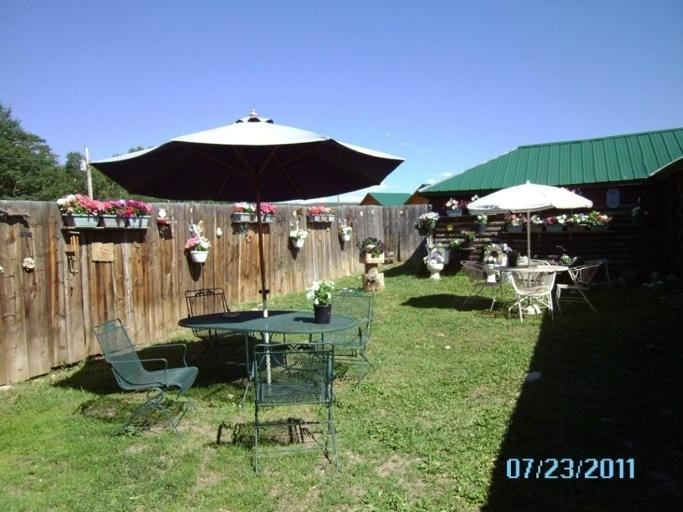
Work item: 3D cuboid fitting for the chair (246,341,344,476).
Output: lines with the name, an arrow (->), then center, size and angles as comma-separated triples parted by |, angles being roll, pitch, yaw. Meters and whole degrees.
chair -> -0.575, 1.762, 6.360 | 1.106, 1.507, 1.151 | 2, -6, -21

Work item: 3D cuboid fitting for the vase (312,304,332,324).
vase -> -0.235, 0.748, 6.831 | 0.218, 0.200, 0.248 | 0, -3, 1

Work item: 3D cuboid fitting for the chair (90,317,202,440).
chair -> -2.363, 1.477, 6.589 | 1.357, 1.297, 1.270 | 2, 2, 32

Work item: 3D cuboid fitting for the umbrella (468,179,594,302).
umbrella -> 3.642, -0.331, 9.906 | 1.896, 1.418, 1.967 | 1, -1, -28

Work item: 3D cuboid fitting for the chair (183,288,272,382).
chair -> -2.273, 1.305, 9.404 | 1.331, 1.237, 1.364 | 2, 3, 37

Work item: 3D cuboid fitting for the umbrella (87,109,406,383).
umbrella -> -1.121, -0.332, 7.055 | 3.113, 2.460, 3.328 | -6, -2, 27
